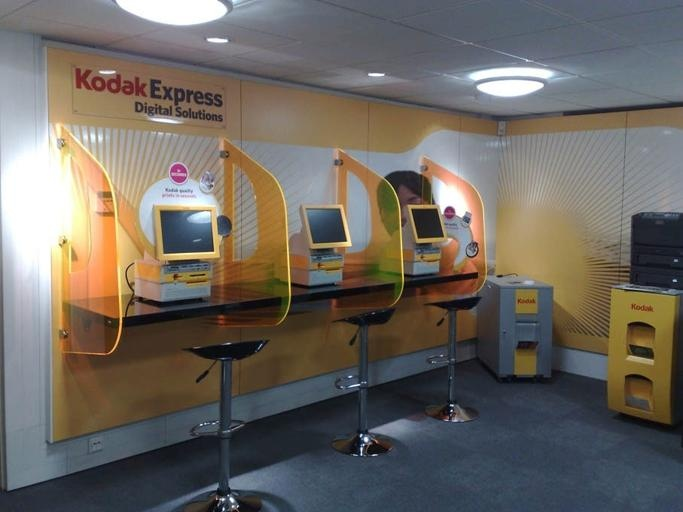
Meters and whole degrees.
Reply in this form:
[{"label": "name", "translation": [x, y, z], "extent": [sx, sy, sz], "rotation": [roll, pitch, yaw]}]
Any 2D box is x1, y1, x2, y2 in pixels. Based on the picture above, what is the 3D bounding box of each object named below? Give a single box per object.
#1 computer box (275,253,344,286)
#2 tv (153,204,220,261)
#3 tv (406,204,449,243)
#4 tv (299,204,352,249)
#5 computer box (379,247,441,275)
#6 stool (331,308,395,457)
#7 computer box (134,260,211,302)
[{"label": "computer box", "translation": [-0.206, 0.057, 4.064], "extent": [0.416, 0.353, 0.433], "rotation": [0, 3, -14]}, {"label": "tv", "translation": [-1.029, -0.149, 3.308], "extent": [0.333, 0.318, 0.128], "rotation": [-1, -17, -35]}, {"label": "tv", "translation": [0.772, -0.290, 4.669], "extent": [0.363, 0.356, 0.036], "rotation": [-1, -18, -44]}, {"label": "tv", "translation": [-0.121, -0.240, 4.021], "extent": [0.411, 0.337, 0.200], "rotation": [-8, 11, -31]}, {"label": "computer box", "translation": [0.705, 0.019, 4.656], "extent": [0.339, 0.257, 0.332], "rotation": [2, 5, 41]}, {"label": "stool", "translation": [0.172, 0.882, 4.089], "extent": [0.488, 1.080, 0.980], "rotation": [-2, 9, 3]}, {"label": "computer box", "translation": [-1.116, 0.133, 3.305], "extent": [0.319, 0.209, 0.313], "rotation": [5, 6, 39]}]
